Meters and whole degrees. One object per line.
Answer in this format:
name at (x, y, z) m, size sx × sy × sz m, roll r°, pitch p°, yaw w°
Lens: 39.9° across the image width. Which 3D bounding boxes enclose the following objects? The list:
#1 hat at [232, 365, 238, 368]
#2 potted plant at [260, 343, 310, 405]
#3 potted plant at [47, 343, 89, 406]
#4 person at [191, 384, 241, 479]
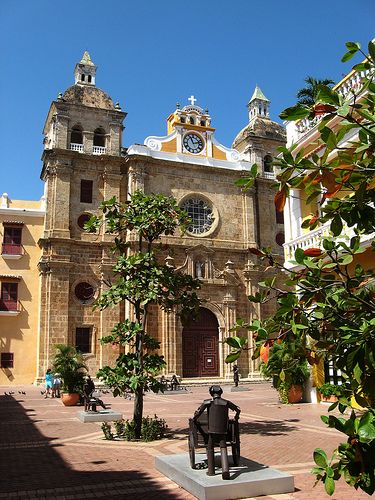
hat at (2.717, 6.722, 29.582) m, size 0.362 × 0.153 × 0.455 m, roll 0°, pitch -8°, yaw 1°
potted plant at (2.340, 3.004, 12.052) m, size 0.974 × 1.136 × 1.014 m, roll -11°, pitch -19°, yaw -5°
potted plant at (-4.533, 4.904, 19.981) m, size 1.585 × 2.242 × 1.506 m, roll -8°, pitch -20°, yaw 26°
person at (0.369, 2.653, 7.407) m, size 0.754 × 1.046 × 1.008 m, roll -1°, pitch -13°, yaw 4°
